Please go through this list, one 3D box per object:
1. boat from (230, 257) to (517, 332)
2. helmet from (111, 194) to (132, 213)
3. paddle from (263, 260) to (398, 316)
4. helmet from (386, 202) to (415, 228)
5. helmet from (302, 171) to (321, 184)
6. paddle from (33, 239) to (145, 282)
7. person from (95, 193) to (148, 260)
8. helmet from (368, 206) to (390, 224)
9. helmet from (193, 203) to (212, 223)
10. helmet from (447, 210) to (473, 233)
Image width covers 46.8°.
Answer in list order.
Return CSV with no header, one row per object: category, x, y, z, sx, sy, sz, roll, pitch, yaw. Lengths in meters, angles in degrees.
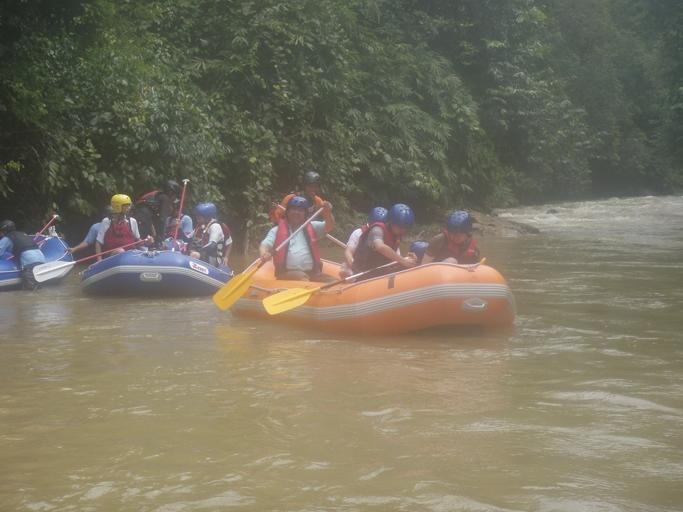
boat,0.435,0.567,10.294,2.569,0.618,1.371,1,-2,37
helmet,-3.902,-0.950,14.062,0.355,0.284,0.260,-2,11,-6
paddle,-0.132,0.446,10.513,1.704,0.235,0.109,-20,-27,-10
helmet,0.780,-0.518,10.500,0.320,0.290,0.274,34,28,10
helmet,-0.472,-1.279,12.862,0.236,0.213,0.186,-15,22,-26
paddle,-4.416,0.084,13.901,1.838,0.316,0.144,-23,-5,-21
person,-3.928,-0.258,14.283,0.923,1.617,0.732,0,4,-12
helmet,0.491,-0.550,10.642,0.244,0.219,0.194,18,6,10
helmet,-2.380,-0.807,13.940,0.337,0.303,0.256,19,44,-5
helmet,1.526,-0.466,10.259,0.277,0.223,0.278,7,23,16
